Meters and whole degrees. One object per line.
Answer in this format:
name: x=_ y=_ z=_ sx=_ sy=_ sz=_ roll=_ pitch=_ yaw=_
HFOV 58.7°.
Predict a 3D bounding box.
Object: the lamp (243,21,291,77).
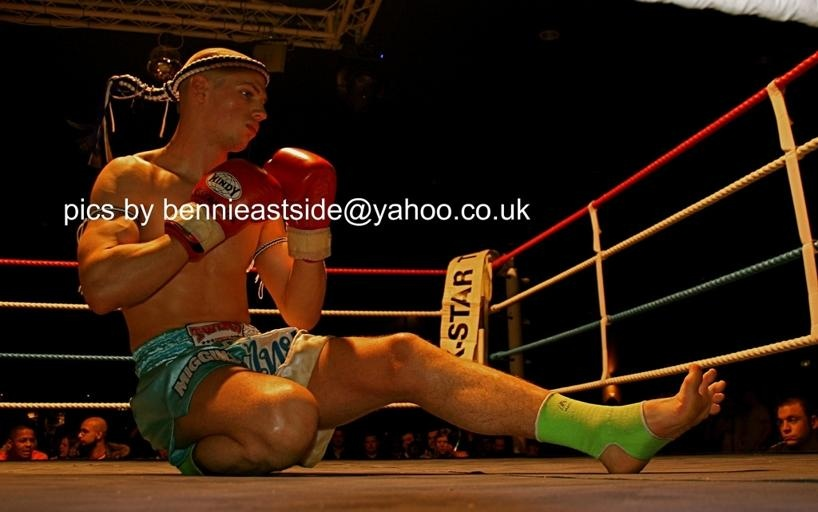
lamp: x=-1.635 y=-2.485 z=8.473 sx=0.400 sy=0.485 sz=0.468 roll=-3 pitch=-27 yaw=-16
